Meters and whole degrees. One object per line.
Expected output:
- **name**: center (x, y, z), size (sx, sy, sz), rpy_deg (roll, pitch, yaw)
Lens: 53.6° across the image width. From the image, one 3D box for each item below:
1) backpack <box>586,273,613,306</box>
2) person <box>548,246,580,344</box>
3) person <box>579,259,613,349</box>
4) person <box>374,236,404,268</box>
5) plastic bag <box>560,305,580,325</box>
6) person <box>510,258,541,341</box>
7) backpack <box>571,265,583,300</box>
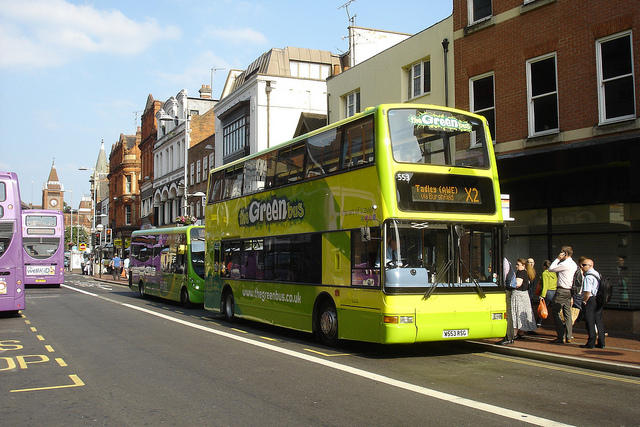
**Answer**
- **backpack**: center (7.568, 2.007, 17.118), size (0.451, 0.791, 0.722), rpy_deg (5, 2, -32)
- **person**: center (6.803, 2.249, 17.619), size (0.737, 2.604, 0.675), rpy_deg (0, 1, 21)
- **person**: center (7.300, 2.381, 16.819), size (0.817, 2.300, 0.652), rpy_deg (0, 1, 2)
- **person**: center (1.718, 0.952, 15.704), size (0.700, 0.764, 0.237), rpy_deg (0, 1, 7)
- **plastic bag**: center (7.160, 2.911, 18.099), size (0.599, 0.596, 0.159), rpy_deg (22, -18, -38)
- **person**: center (5.840, 2.475, 18.324), size (0.577, 2.266, 1.387), rpy_deg (1, 1, 45)
- **backpack**: center (7.156, 1.933, 17.583), size (0.242, 0.896, 0.184), rpy_deg (0, 1, 23)
